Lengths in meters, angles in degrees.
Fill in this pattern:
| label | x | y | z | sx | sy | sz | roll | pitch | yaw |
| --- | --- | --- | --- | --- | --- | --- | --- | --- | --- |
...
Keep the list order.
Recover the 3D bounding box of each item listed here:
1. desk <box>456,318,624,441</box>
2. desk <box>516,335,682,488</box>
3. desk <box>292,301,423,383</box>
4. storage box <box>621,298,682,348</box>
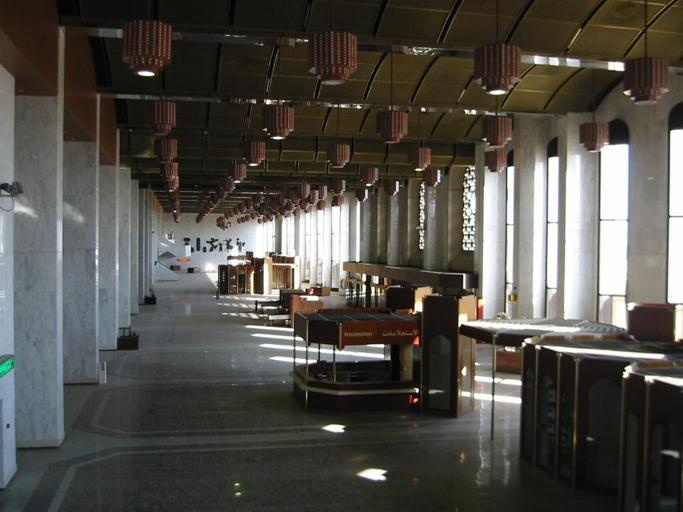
| label | x | y | z | sx | sy | sz | roll | pitch | yaw |
| --- | --- | --- | --- | --- | --- | --- | --- | --- | --- |
| desk | 3.902 | 2.712 | 14.692 | 2.850 | 1.606 | 2.038 | -1 | 0 | -12 |
| desk | 4.584 | 2.840 | 12.697 | 2.342 | 2.025 | 2.500 | 3 | -2 | 14 |
| desk | 0.148 | 1.678 | 16.267 | 1.902 | 1.227 | 1.965 | 0 | 3 | -30 |
| storage box | 6.579 | 1.287 | 14.607 | 1.127 | 1.234 | 0.687 | 1 | 1 | 18 |
